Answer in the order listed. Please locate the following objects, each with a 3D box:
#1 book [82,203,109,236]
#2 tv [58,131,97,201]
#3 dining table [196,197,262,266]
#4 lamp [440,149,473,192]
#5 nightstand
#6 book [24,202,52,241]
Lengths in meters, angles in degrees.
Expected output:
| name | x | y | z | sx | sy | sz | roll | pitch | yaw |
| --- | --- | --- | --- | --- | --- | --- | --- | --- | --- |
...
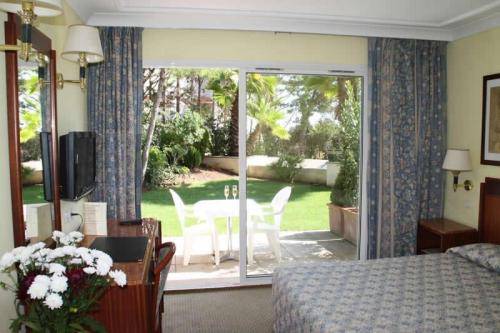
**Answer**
| name | x | y | z | sx | sy | sz | roll | pitch | yaw |
| --- | --- | --- | --- | --- | --- | --- | --- | --- | --- |
| book | -1.584 | 0.553 | 3.881 | 0.327 | 0.451 | 0.049 | 0 | 3 | -4 |
| tv | -1.715 | -0.016 | 3.755 | 0.252 | 0.597 | 0.706 | 1 | 6 | -5 |
| dining table | -0.297 | 0.767 | 5.394 | 0.989 | 0.794 | 1.022 | -3 | -1 | -16 |
| lamp | 2.625 | 0.066 | 4.789 | 0.310 | 0.574 | 0.469 | 3 | 7 | 35 |
| nightstand | 2.493 | 0.851 | 4.882 | 0.441 | 0.564 | 0.603 | -6 | 11 | -14 |
| book | -1.807 | 0.470 | 3.222 | 0.119 | 0.331 | 0.342 | -2 | -4 | 0 |
